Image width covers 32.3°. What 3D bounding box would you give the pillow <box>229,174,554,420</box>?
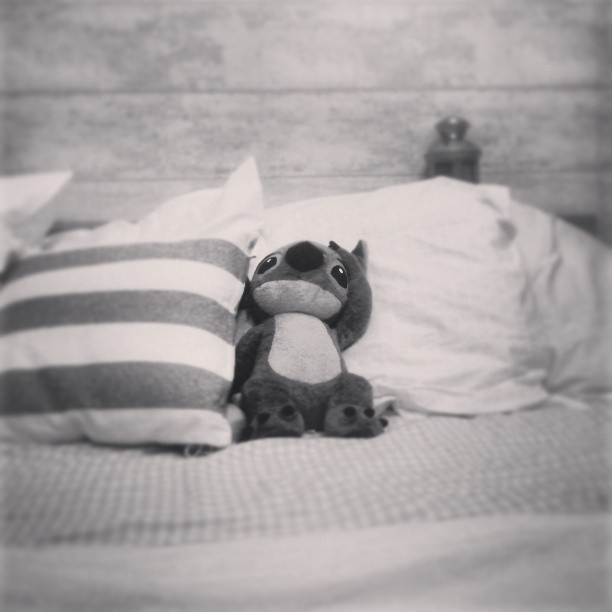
[{"bbox_3d":[0.220,0.012,1.722,0.455,0.143,0.428,-6,77,12],"label":"pillow"}]
